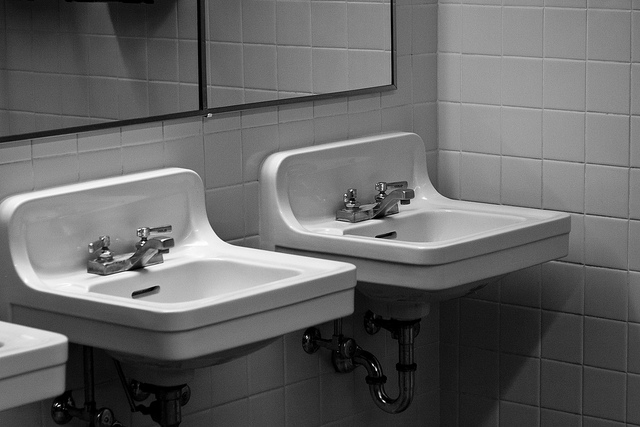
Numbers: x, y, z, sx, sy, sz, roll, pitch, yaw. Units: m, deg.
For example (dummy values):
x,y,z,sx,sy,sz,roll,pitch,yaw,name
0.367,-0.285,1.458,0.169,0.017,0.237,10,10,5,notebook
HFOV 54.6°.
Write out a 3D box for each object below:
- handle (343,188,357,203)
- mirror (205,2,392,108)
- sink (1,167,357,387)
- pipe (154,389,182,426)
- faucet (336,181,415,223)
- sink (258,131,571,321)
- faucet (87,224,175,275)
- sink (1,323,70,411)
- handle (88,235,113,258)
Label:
x,y,z,sx,sy,sz,roll,pitch,yaw,name
0.120,-0.078,2.344,0.052,0.059,0.033,1,1,33,handle
-0.043,-0.611,2.267,0.879,0.375,0.069,-21,23,-36,mirror
-0.386,0.161,1.719,0.697,0.567,0.777,7,13,32,sink
-0.443,0.579,1.856,0.077,0.128,0.052,-10,18,-12,pipe
0.205,-0.035,2.321,0.190,0.091,0.194,5,12,37,faucet
0.328,0.013,2.218,0.789,0.660,0.908,6,14,36,sink
-0.545,0.067,1.779,0.154,0.072,0.191,3,9,31,faucet
-0.635,0.317,1.371,0.148,0.143,0.212,-16,21,-27,sink
-0.630,0.095,1.804,0.043,0.080,0.080,0,1,44,handle
